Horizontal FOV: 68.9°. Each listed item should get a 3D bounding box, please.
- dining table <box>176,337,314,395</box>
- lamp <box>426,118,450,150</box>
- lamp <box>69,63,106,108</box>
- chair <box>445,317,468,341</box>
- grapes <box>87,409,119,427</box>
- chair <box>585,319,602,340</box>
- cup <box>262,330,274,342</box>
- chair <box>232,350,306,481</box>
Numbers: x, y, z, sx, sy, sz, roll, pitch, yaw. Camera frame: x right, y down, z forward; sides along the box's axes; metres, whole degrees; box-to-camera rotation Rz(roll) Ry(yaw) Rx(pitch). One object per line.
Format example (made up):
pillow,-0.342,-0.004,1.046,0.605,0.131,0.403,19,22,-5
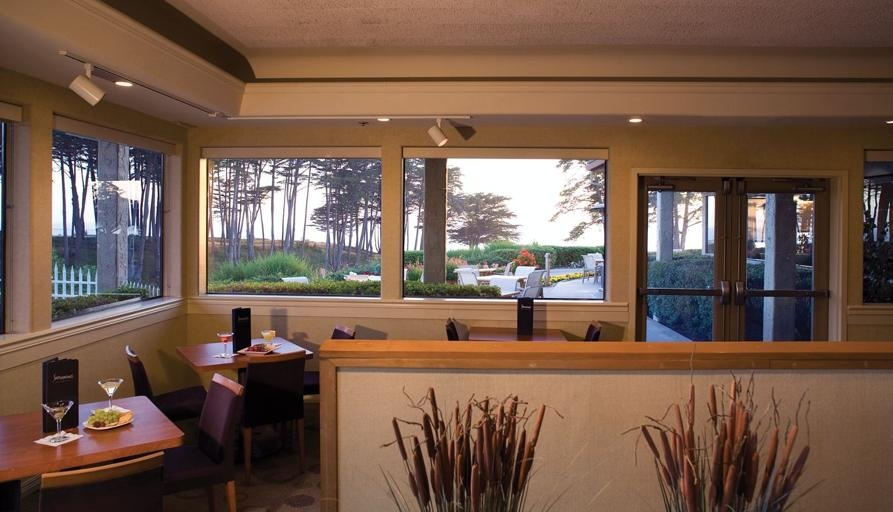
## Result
dining table,-2.208,1.027,6.789,0.788,0.500,0.731,-2,7,-31
lamp,-0.110,-1.383,7.432,0.212,0.254,0.364,-25,7,19
lamp,-3.321,-1.569,6.013,0.290,0.419,0.483,3,6,-4
chair,0.127,0.812,7.313,0.275,0.281,0.242,1,5,7
grapes,-2.858,1.331,5.419,0.198,0.081,0.141,1,9,-34
chair,1.626,0.842,7.205,0.159,0.231,0.625,2,1,11
cup,-1.939,0.851,7.008,0.134,0.089,0.125,-1,0,0
chair,-1.726,1.573,6.494,0.614,1.165,0.360,1,1,-14
